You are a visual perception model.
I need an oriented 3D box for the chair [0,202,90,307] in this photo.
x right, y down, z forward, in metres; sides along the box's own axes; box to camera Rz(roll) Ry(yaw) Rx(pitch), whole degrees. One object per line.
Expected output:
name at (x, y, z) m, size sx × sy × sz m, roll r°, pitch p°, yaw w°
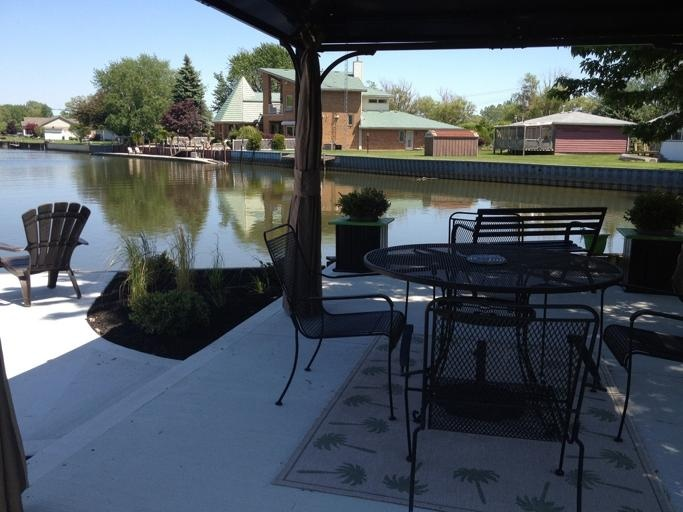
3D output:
chair at (-3.425, -0.074, 6.310) m, size 0.931 × 1.117 × 0.717 m, roll -6°, pitch 15°, yaw -28°

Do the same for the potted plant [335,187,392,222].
potted plant at (0.310, -0.726, 7.437) m, size 0.509 × 0.414 × 0.503 m, roll 8°, pitch 16°, yaw 27°
